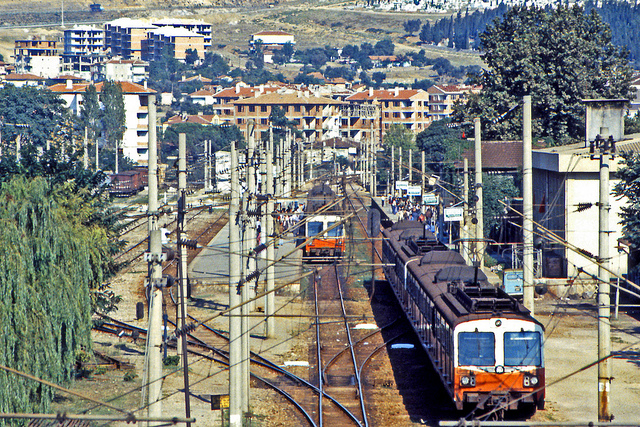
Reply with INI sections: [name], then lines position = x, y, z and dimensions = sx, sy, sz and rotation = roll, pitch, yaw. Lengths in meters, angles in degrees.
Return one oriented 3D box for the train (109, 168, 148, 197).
[train]
position = -35.566, -5.685, 334.392
dimensions = 4.115, 4.808, 11.795
rotation = 2, 6, 10
